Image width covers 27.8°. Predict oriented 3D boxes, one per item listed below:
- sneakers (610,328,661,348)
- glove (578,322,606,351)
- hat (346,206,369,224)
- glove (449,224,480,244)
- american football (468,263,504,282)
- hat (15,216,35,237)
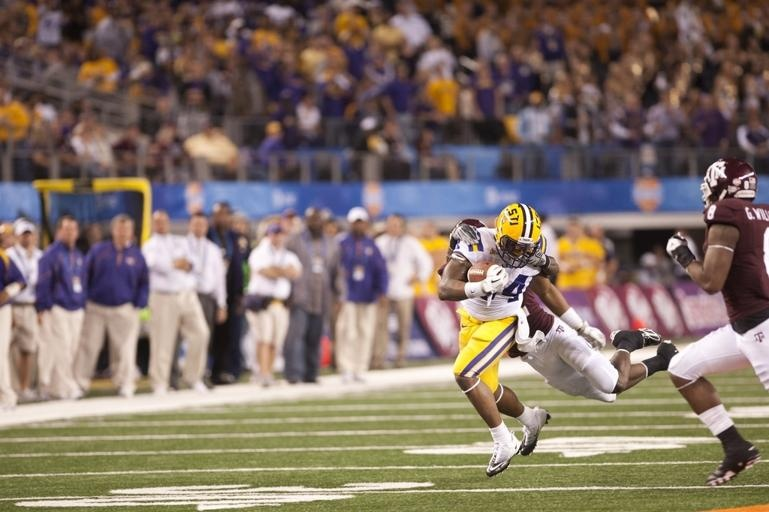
[{"bbox_3d":[2.989,1.005,18.378,0.439,0.166,0.278,-8,11,-11],"label":"sneakers"},{"bbox_3d":[2.459,1.003,18.495,0.355,0.259,0.154,32,-31,11],"label":"glove"},{"bbox_3d":[-0.410,-0.615,23.868,0.296,0.221,0.385,-2,12,-4],"label":"hat"},{"bbox_3d":[0.937,-0.252,17.924,0.322,0.230,0.180,0,12,3],"label":"glove"},{"bbox_3d":[1.142,0.235,17.731,0.292,0.231,0.218,-16,9,-6],"label":"american football"},{"bbox_3d":[-5.080,-0.387,21.817,0.379,0.221,0.529,2,1,-19],"label":"hat"}]
